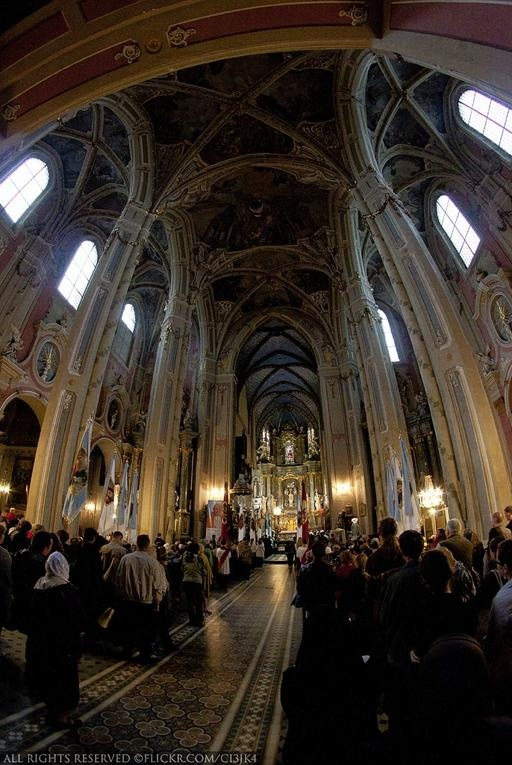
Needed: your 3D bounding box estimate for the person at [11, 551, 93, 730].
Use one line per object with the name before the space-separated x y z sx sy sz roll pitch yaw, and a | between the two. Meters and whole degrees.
person | -1.438 1.767 2.674 0.431 1.115 0.414 18 -30 -38
